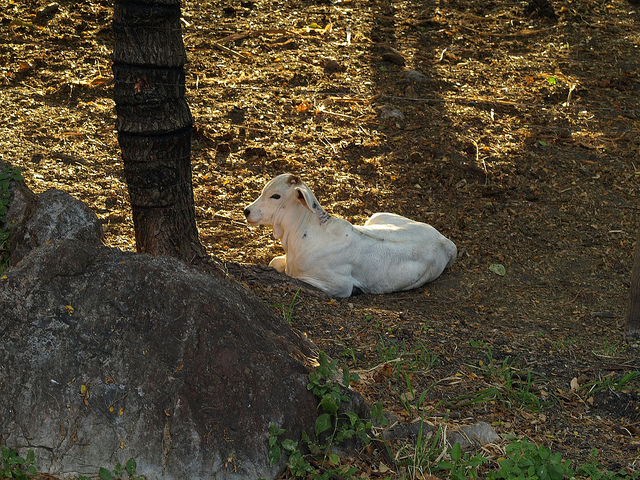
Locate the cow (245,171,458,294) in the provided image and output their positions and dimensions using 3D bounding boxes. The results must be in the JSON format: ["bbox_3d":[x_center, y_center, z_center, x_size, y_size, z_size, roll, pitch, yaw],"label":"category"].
[{"bbox_3d":[0.304,-0.097,10.292,2.860,1.209,1.368,5,28,-21],"label":"cow"}]
